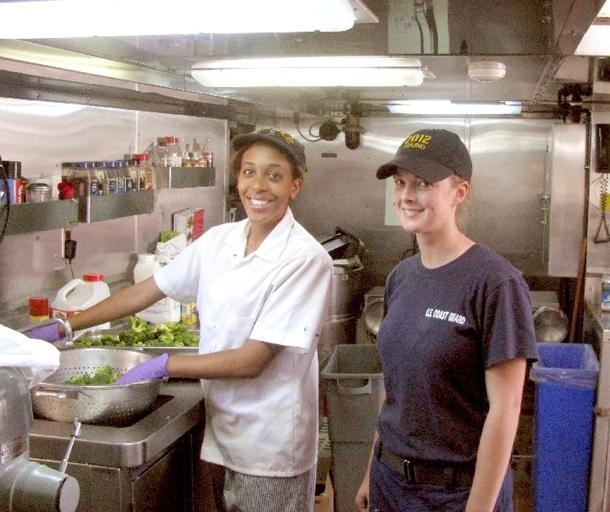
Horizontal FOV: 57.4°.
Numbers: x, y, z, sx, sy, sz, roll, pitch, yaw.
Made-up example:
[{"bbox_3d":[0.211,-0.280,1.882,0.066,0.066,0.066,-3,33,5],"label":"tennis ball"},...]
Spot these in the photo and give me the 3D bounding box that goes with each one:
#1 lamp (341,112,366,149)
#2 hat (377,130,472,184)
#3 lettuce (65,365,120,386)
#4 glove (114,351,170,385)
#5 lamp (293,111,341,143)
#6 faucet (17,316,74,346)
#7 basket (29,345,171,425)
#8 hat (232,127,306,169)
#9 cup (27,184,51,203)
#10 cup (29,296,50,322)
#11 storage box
[{"bbox_3d":[0.414,-1.098,4.879,0.234,0.268,0.106,-1,21,6],"label":"lamp"},{"bbox_3d":[0.315,-0.247,1.434,0.220,0.102,0.153,3,3,-33],"label":"hat"},{"bbox_3d":[-0.714,0.408,1.892,0.112,0.042,0.089,-5,8,26],"label":"lettuce"},{"bbox_3d":[-0.503,0.355,1.729,0.122,0.048,0.112,-10,-17,-46],"label":"glove"},{"bbox_3d":[0.136,-1.142,5.055,0.376,0.264,0.111,-15,15,34],"label":"lamp"},{"bbox_3d":[-0.935,0.261,1.949,0.223,0.072,0.159,-3,-8,11],"label":"faucet"},{"bbox_3d":[-0.673,0.426,1.736,0.282,0.099,0.290,0,4,15],"label":"basket"},{"bbox_3d":[-0.102,-0.357,1.842,0.141,0.061,0.202,2,-15,44],"label":"hat"},{"bbox_3d":[-1.007,-0.238,2.110,0.076,0.067,0.073,2,7,0],"label":"cup"},{"bbox_3d":[-1.144,0.224,2.396,0.107,0.109,0.104,2,0,0],"label":"cup"},{"bbox_3d":[0.247,0.686,2.905,0.443,0.436,0.655,0,2,5],"label":"storage box"}]
